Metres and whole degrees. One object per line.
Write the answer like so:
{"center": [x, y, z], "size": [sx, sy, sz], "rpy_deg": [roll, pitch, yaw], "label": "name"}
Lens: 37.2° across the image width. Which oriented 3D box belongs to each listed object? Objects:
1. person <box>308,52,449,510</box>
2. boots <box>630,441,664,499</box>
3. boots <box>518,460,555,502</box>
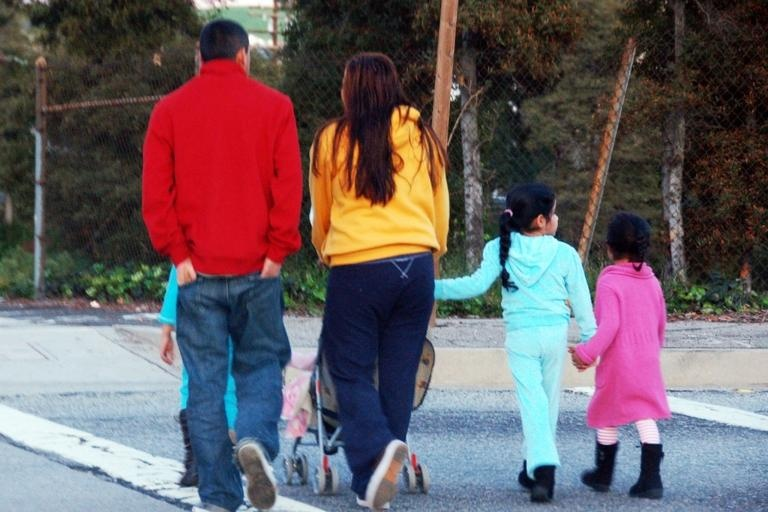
{"center": [-0.050, 0.260, 11.320], "size": [1.318, 4.533, 0.619], "rpy_deg": [-2, 5, -6], "label": "person"}
{"center": [2.693, 2.192, 11.773], "size": [0.332, 0.572, 0.190], "rpy_deg": [0, 5, 13], "label": "boots"}
{"center": [1.586, 2.308, 11.666], "size": [0.183, 0.428, 0.542], "rpy_deg": [1, 2, -7], "label": "boots"}
